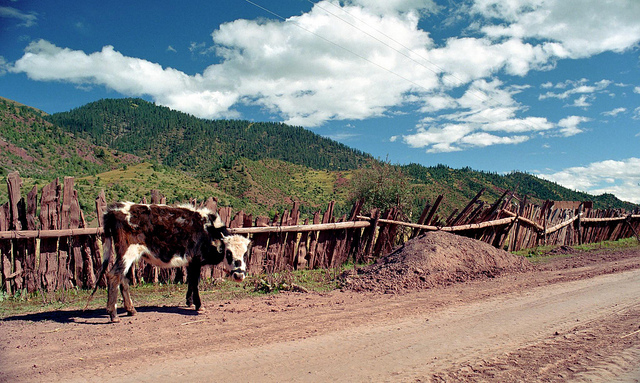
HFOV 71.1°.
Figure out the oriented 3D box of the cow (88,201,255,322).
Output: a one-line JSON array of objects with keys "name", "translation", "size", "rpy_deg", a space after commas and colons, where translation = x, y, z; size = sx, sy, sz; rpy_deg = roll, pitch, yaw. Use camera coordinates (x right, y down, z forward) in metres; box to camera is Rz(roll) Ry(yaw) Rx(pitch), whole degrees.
[{"name": "cow", "translation": [-3.991, 1.925, 12.679], "size": [4.169, 2.813, 1.380], "rpy_deg": [5, -14, -42]}]
